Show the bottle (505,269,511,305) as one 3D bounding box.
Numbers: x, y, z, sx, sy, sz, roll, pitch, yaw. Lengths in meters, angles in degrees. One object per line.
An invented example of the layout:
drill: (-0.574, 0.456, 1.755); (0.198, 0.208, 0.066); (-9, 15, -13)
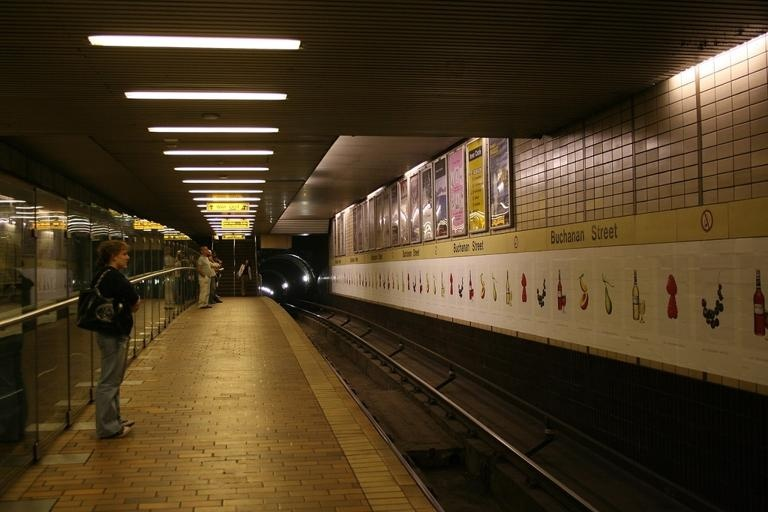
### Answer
bottle: (2.178, 0.542, 8.898); (0.053, 0.563, 0.225); (3, 1, -7)

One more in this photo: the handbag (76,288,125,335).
handbag: (-2.977, 0.572, 5.366); (0.597, 0.535, 0.353); (1, 0, -11)
